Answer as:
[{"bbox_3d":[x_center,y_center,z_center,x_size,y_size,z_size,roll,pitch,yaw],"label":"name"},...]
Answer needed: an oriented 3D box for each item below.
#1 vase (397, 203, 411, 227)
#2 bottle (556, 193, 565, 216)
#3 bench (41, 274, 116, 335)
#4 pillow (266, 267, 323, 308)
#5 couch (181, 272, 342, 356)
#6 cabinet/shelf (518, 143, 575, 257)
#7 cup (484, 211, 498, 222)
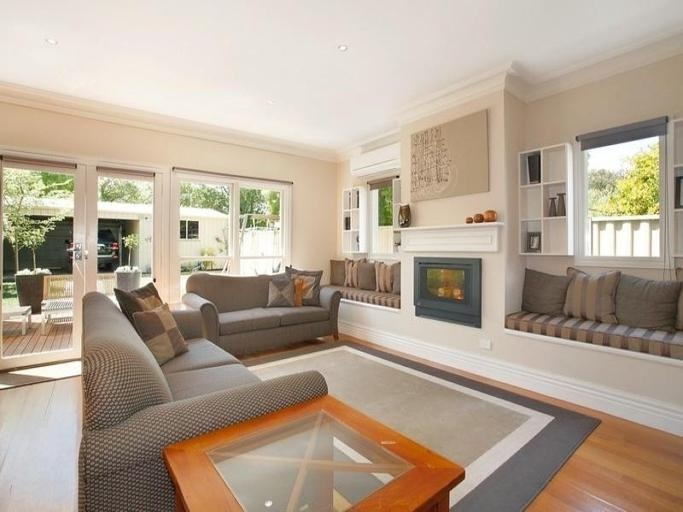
[{"bbox_3d":[0.756,-0.500,5.471,0.133,0.280,0.237,-11,16,-40],"label":"vase"},{"bbox_3d":[2.236,-0.528,4.538,0.074,0.222,0.085,3,13,17],"label":"bottle"},{"bbox_3d":[-3.168,0.528,5.130,0.497,0.498,0.381,-7,21,-28],"label":"bench"},{"bbox_3d":[-0.638,0.516,6.067,0.504,0.526,0.164,9,-29,-2],"label":"pillow"},{"bbox_3d":[-0.982,0.706,5.692,1.850,1.043,0.885,-4,0,-31],"label":"couch"},{"bbox_3d":[2.120,-0.569,4.669,0.443,1.088,0.207,0,2,41],"label":"cabinet/shelf"},{"bbox_3d":[1.537,-0.417,4.629,0.106,0.113,0.111,-2,0,0],"label":"cup"}]
